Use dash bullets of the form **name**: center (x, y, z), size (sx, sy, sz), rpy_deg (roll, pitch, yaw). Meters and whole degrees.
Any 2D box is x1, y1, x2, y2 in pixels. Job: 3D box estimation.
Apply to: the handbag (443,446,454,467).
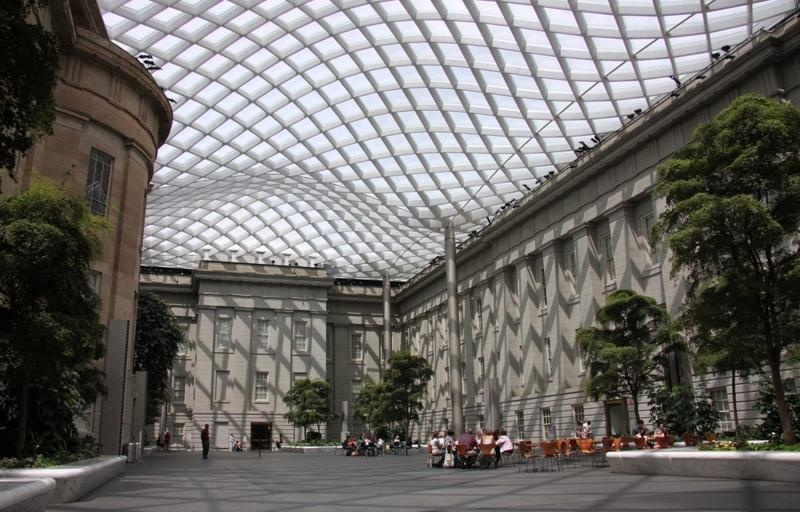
- **handbag**: center (2.225, 9.118, 30.870), size (0.586, 0.728, 0.362), rpy_deg (12, -36, -11)
